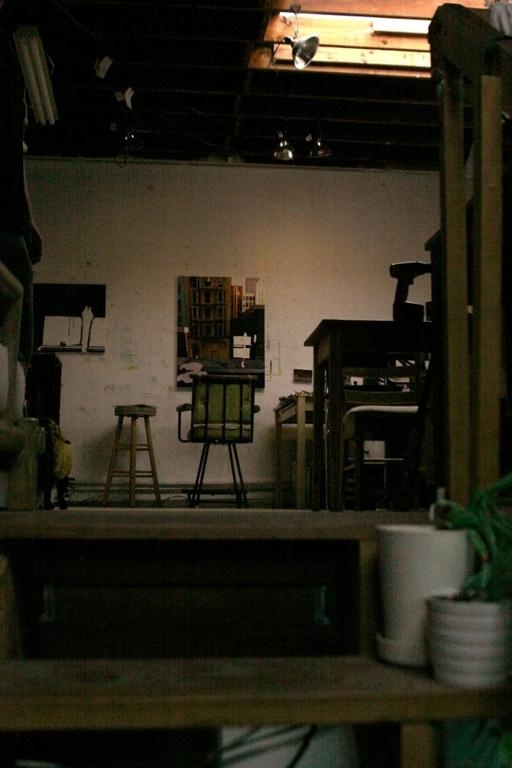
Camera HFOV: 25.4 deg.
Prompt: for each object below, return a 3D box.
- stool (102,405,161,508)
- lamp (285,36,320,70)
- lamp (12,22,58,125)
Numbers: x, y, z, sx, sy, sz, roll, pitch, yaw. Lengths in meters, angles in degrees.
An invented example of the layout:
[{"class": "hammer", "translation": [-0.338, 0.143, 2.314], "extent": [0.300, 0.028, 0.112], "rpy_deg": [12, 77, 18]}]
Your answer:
[{"class": "stool", "translation": [-0.675, 0.386, 6.236], "extent": [0.317, 0.557, 0.778], "rpy_deg": [-1, -2, -7]}, {"class": "lamp", "translation": [0.196, -1.366, 4.679], "extent": [0.141, 0.127, 0.155], "rpy_deg": [-2, -3, 22]}, {"class": "lamp", "translation": [-0.785, -1.103, 4.103], "extent": [0.089, 0.043, 0.448], "rpy_deg": [-5, -30, -5]}]
